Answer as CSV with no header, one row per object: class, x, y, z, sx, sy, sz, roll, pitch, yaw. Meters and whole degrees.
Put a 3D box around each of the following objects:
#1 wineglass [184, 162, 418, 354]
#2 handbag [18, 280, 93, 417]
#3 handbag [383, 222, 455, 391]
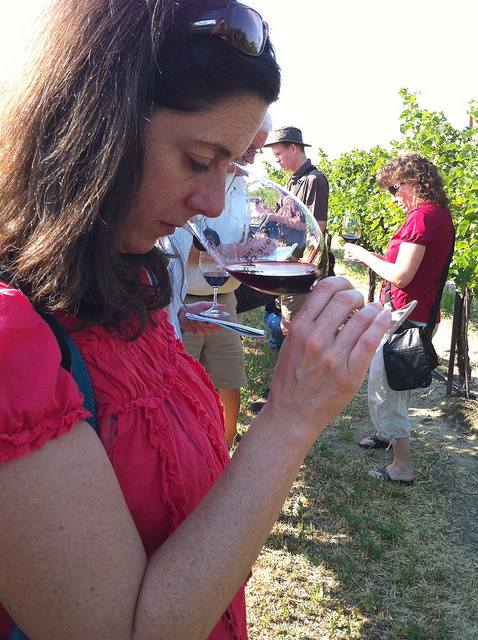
wineglass,0.026,-0.232,1.452,0.391,0.326,0.332,5,13,12
handbag,-0.313,0.044,0.997,0.051,0.192,0.203,-26,-8,14
handbag,1.190,-0.088,3.823,0.435,1.088,0.506,-1,-1,18
